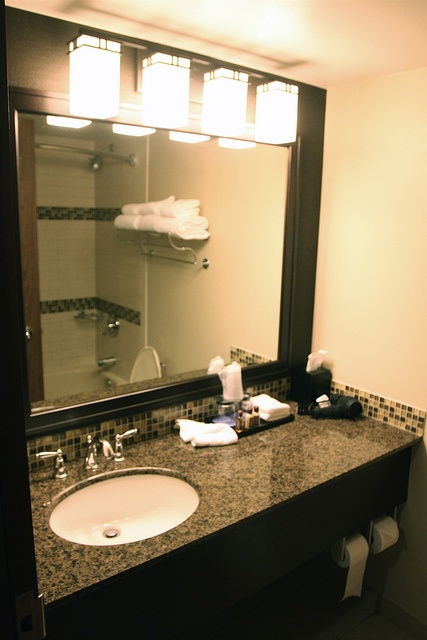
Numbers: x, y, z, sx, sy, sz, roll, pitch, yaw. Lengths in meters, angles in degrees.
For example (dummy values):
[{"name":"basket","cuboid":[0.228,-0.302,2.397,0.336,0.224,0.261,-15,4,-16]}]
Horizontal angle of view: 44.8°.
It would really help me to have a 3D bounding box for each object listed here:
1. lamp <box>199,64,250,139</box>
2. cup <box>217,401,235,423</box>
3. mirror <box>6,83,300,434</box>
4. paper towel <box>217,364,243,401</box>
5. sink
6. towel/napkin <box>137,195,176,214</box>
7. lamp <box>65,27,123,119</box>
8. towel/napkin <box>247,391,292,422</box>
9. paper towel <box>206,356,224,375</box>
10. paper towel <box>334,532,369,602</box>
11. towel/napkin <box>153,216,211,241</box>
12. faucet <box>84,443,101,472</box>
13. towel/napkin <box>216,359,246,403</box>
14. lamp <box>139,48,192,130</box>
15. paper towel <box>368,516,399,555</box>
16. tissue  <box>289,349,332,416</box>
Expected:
[{"name":"lamp","cuboid":[0.036,-0.741,1.773,0.151,0.208,0.137,1,12,-2]},{"name":"cup","cuboid":[0.047,0.359,2.041,0.067,0.084,0.069,0,4,0]},{"name":"mirror","cuboid":[-0.214,-0.220,1.728,1.130,1.263,0.025,-9,18,-36]},{"name":"paper towel","cuboid":[0.059,0.247,2.026,0.113,0.121,0.070,-13,13,-42]},{"name":"sink","cuboid":[-0.266,0.553,1.529,0.417,0.113,0.194,-3,13,-22]},{"name":"towel/napkin","cuboid":[-0.198,-0.392,1.772,0.078,0.030,0.079,-23,23,-38]},{"name":"lamp","cuboid":[-0.347,-0.692,1.484,0.123,0.210,0.126,15,23,33]},{"name":"towel/napkin","cuboid":[0.234,0.349,2.090,0.103,0.042,0.105,-9,21,-40]},{"name":"paper towel","cuboid":[0.002,0.182,2.049,0.066,0.071,0.055,0,-4,-11]},{"name":"paper towel","cuboid":[0.526,0.940,1.954,0.141,0.282,0.083,-5,13,-30]},{"name":"towel/napkin","cuboid":[-0.108,-0.334,1.877,0.113,0.055,0.112,16,17,42]},{"name":"faucet","cuboid":[-0.390,0.416,1.653,0.046,0.087,0.143,-1,13,-14]},{"name":"towel/napkin","cuboid":[0.086,0.215,2.099,0.162,0.173,0.101,-13,13,-42]},{"name":"lamp","cuboid":[-0.171,-0.730,1.639,0.118,0.205,0.120,-3,31,25]},{"name":"paper towel","cuboid":[0.663,0.843,2.007,0.125,0.133,0.074,-6,14,-33]},{"name":"tissue ","cuboid":[0.419,0.277,2.243,0.154,0.322,0.156,-10,20,-33]}]
